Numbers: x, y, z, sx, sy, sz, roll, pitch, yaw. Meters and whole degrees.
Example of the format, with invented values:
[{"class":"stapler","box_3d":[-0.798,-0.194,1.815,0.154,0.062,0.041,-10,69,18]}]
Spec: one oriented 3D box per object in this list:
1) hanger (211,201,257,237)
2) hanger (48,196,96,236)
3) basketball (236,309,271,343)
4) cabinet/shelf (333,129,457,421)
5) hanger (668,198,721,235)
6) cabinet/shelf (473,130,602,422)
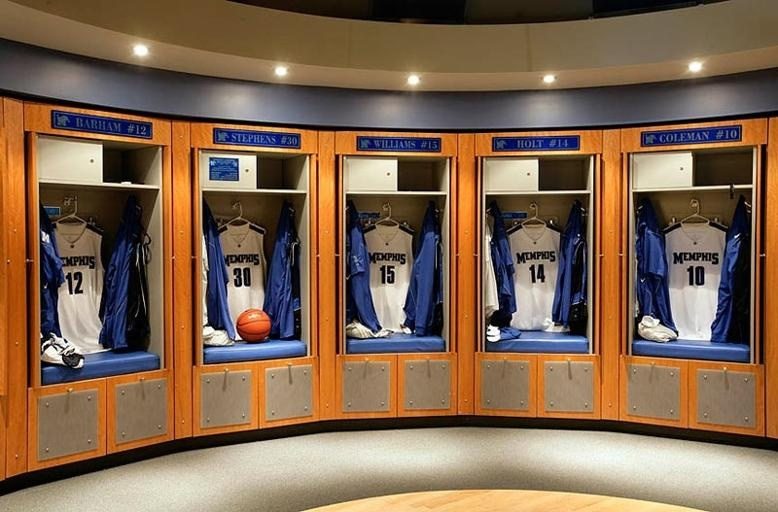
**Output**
[{"class":"hanger","box_3d":[-1.704,-0.395,6.383,0.404,0.251,0.014,-3,-1,-19]},{"class":"hanger","box_3d":[-3.137,-0.387,5.796,0.403,0.241,0.035,0,-3,-36]},{"class":"basketball","box_3d":[-1.370,0.712,6.163,0.323,0.323,0.343,-3,-15,39]},{"class":"cabinet/shelf","box_3d":[0.088,0.167,6.417,1.278,2.941,0.982,0,8,4]},{"class":"hanger","box_3d":[3.321,-0.420,6.375,0.407,0.270,0.019,-1,-3,19]},{"class":"cabinet/shelf","box_3d":[1.585,0.162,6.433,1.328,2.949,0.884,1,8,7]}]
